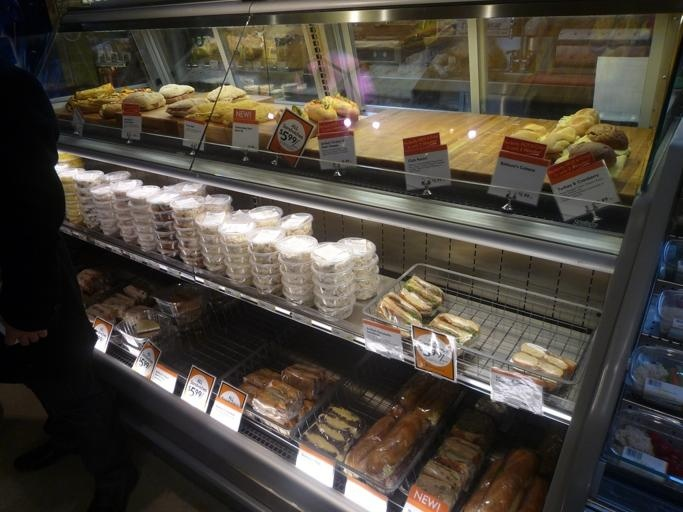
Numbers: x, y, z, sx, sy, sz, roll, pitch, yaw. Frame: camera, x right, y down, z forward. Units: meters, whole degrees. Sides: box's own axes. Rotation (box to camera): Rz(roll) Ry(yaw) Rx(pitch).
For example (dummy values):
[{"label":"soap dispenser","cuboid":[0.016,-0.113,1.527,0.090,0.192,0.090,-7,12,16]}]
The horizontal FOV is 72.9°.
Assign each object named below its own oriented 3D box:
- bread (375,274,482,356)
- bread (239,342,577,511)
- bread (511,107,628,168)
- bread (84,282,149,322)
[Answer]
[{"label":"bread","cuboid":[0.304,0.213,1.638,0.305,0.079,0.232,32,43,27]},{"label":"bread","cuboid":[0.278,0.693,1.975,1.079,0.147,0.582,16,35,31]},{"label":"bread","cuboid":[0.766,-0.404,1.577,0.307,0.081,0.304,-35,45,-27]},{"label":"bread","cuboid":[-1.417,0.298,2.916,0.296,0.056,0.260,13,32,31]}]
